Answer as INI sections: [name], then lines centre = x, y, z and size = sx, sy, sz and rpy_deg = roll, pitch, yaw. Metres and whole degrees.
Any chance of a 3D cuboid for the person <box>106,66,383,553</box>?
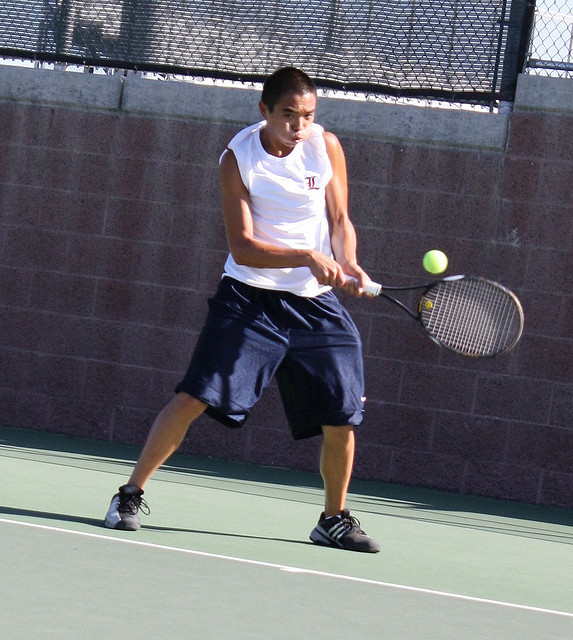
[person]
centre = 0.007, -0.038, 2.805
size = 0.918, 1.272, 0.419
rpy_deg = 11, -5, -8
